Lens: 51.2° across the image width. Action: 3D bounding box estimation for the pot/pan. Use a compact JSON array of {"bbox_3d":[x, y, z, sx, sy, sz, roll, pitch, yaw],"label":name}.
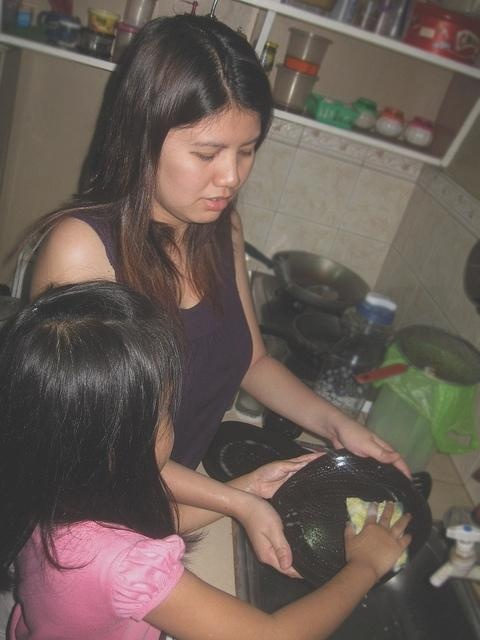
[{"bbox_3d":[0.206,-0.119,1.603,0.352,0.058,0.223,21,35,0],"label":"pot/pan"}]
